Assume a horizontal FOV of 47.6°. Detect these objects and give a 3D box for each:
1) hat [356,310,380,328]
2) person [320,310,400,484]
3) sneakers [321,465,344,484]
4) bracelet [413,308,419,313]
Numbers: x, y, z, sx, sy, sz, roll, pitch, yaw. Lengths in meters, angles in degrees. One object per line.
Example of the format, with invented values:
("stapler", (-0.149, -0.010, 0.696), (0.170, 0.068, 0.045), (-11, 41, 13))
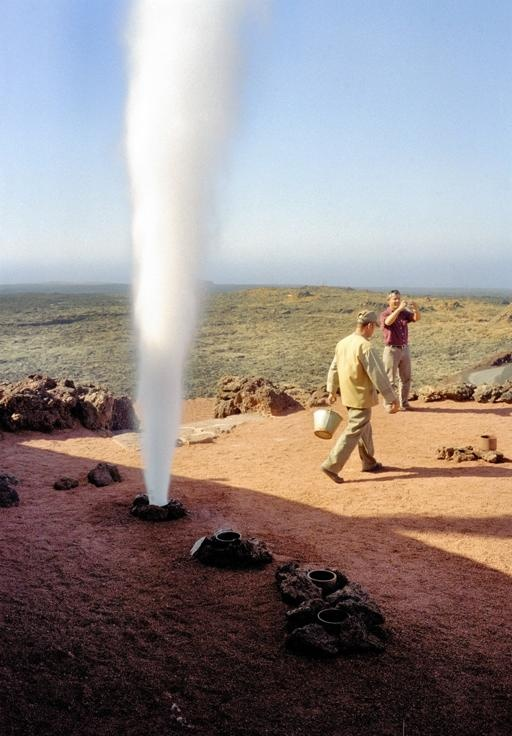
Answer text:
("hat", (1.241, -0.533, 6.395), (0.177, 0.133, 0.261), (10, 17, 35))
("person", (1.150, 0.330, 6.531), (0.803, 1.958, 0.959), (0, 2, 6))
("sneakers", (0.882, 1.246, 6.636), (0.320, 0.139, 0.121), (32, -8, 11))
("bracelet", (2.380, -0.850, 8.692), (0.050, 0.087, 0.090), (-1, -1, 36))
